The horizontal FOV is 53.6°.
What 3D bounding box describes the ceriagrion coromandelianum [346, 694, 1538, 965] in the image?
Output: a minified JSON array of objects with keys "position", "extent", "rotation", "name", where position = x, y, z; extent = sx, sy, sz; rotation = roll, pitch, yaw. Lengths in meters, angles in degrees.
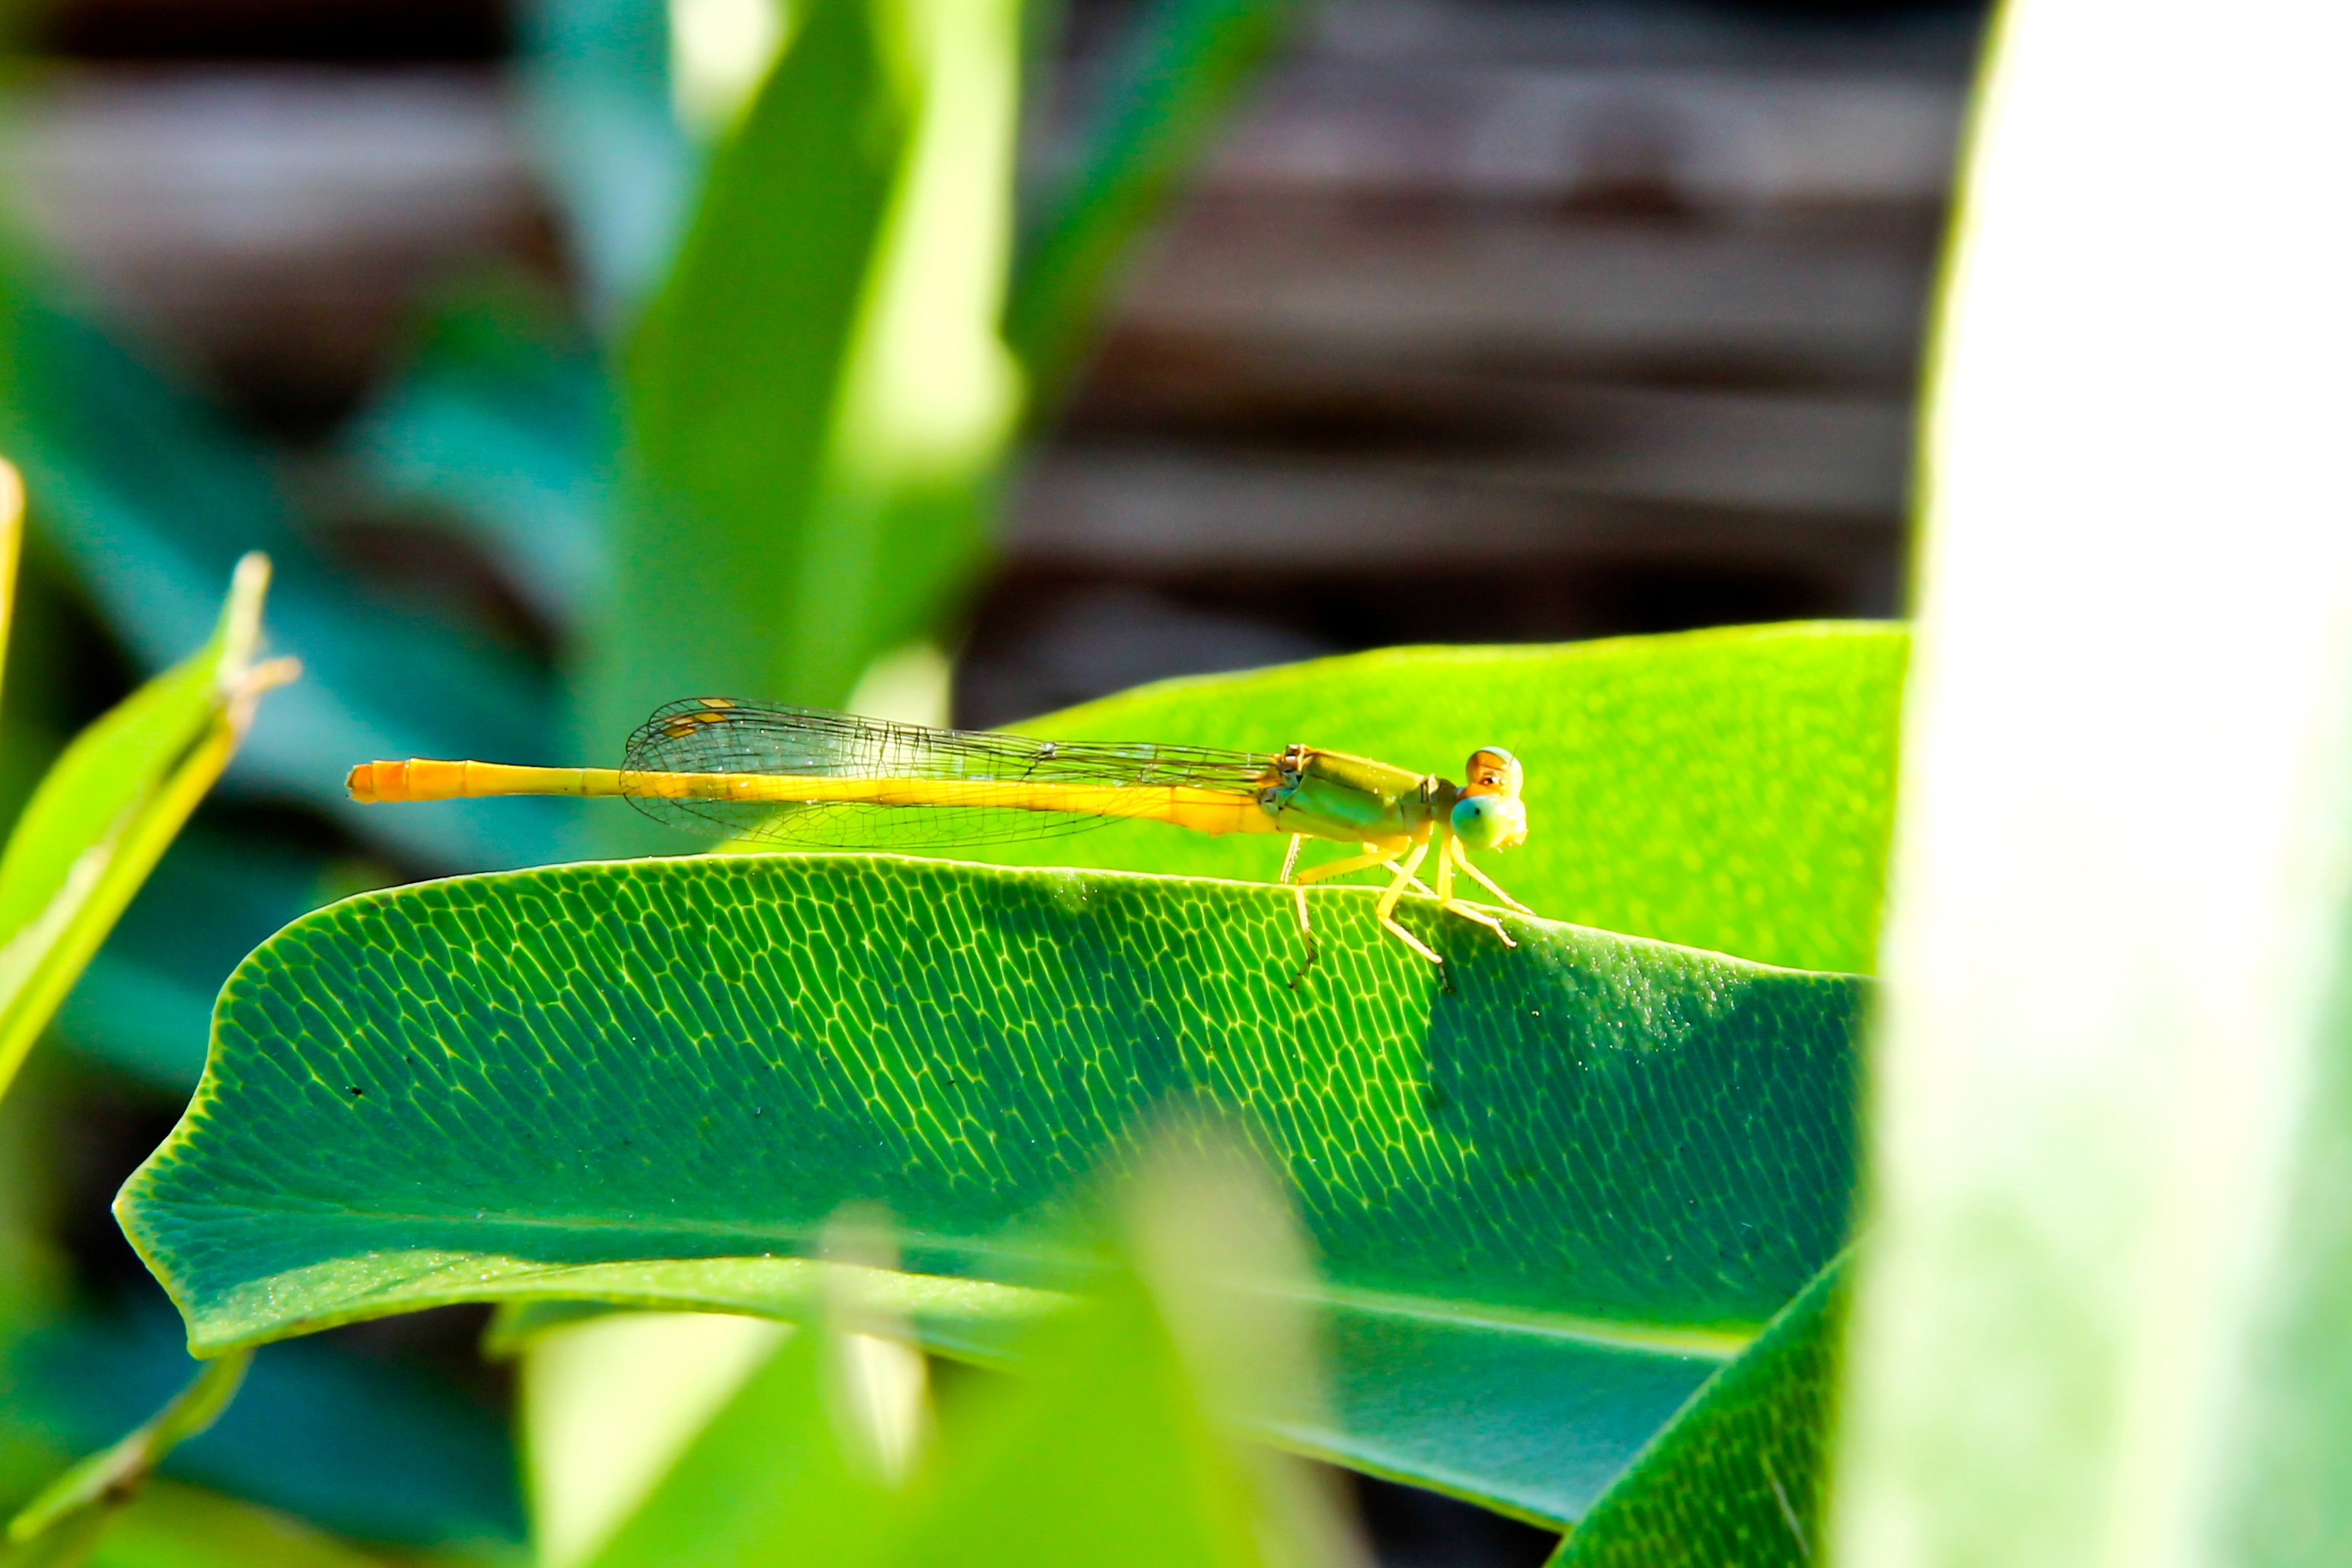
[{"position":[-0.104,0.021,1.233],"extent":[0.495,0.104,0.128],"rotation":[2,71,14],"name":"ceriagrion coromandelianum"}]
